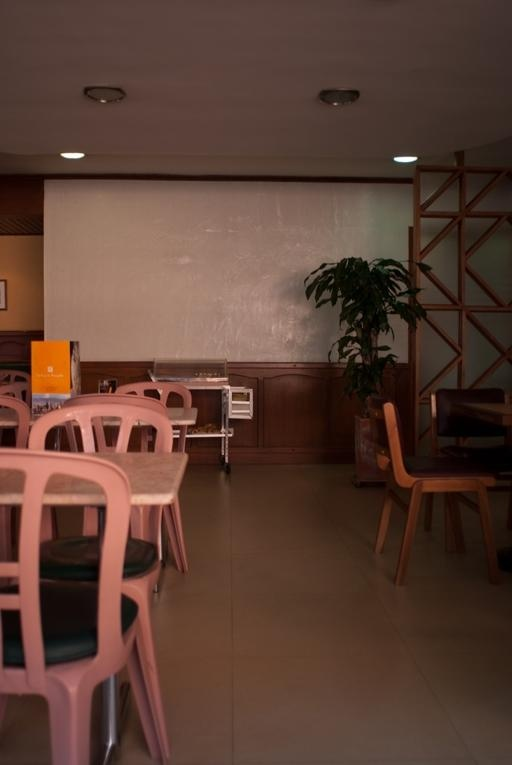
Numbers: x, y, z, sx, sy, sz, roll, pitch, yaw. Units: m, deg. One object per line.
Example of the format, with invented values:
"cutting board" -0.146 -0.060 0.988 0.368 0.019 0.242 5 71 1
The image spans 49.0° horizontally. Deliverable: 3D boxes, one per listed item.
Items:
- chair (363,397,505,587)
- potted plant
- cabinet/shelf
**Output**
"chair" 0.836 0.446 2.752 0.596 1.073 0.747 -1 1 -2
"potted plant" 0.912 -0.258 5.093 1.214 2.497 1.413 0 6 7
"cabinet/shelf" -0.504 0.209 4.970 0.801 1.178 0.683 1 3 -4
